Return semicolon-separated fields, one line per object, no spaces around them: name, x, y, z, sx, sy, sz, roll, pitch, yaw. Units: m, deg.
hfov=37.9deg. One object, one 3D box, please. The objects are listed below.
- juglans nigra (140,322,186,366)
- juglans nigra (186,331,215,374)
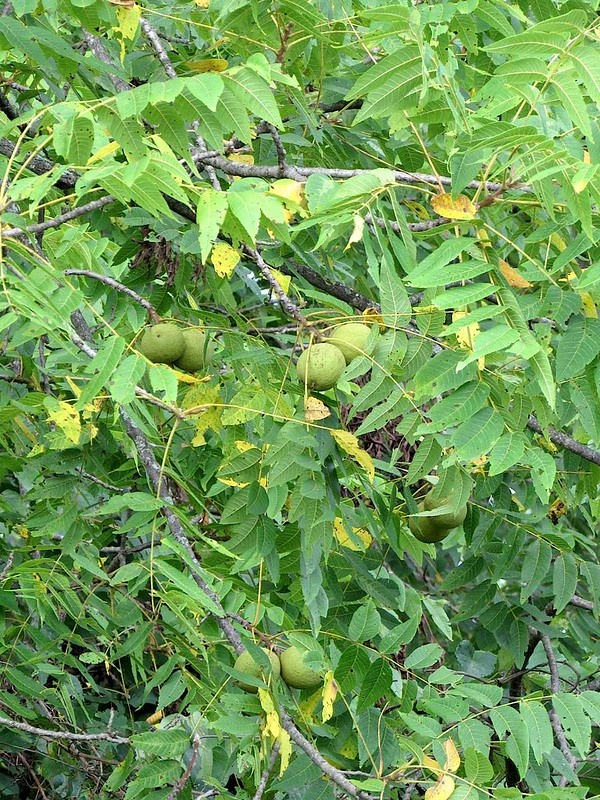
juglans nigra;-0.426;-0.176;2.716;0.157;0.139;0.131;10;42;-8
juglans nigra;-0.336;-0.169;2.883;0.103;0.182;0.118;6;64;-8
